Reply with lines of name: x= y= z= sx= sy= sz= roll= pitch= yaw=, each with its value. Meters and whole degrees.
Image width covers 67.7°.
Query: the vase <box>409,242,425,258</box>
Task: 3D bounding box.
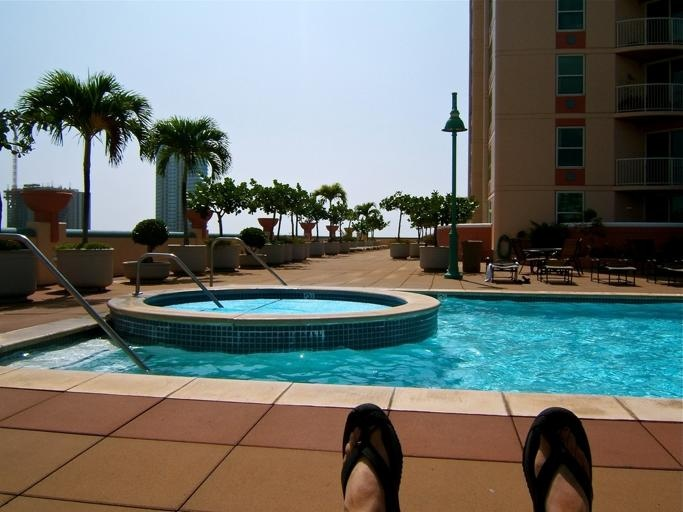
vase: x=4.678 y=-0.077 z=32.121 sx=0.918 sy=1.154 sz=1.629 roll=0 pitch=2 yaw=10

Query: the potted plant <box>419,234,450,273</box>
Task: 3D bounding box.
potted plant: x=3.306 y=0.099 z=18.398 sx=0.929 sy=0.939 sz=0.967 roll=0 pitch=0 yaw=13
